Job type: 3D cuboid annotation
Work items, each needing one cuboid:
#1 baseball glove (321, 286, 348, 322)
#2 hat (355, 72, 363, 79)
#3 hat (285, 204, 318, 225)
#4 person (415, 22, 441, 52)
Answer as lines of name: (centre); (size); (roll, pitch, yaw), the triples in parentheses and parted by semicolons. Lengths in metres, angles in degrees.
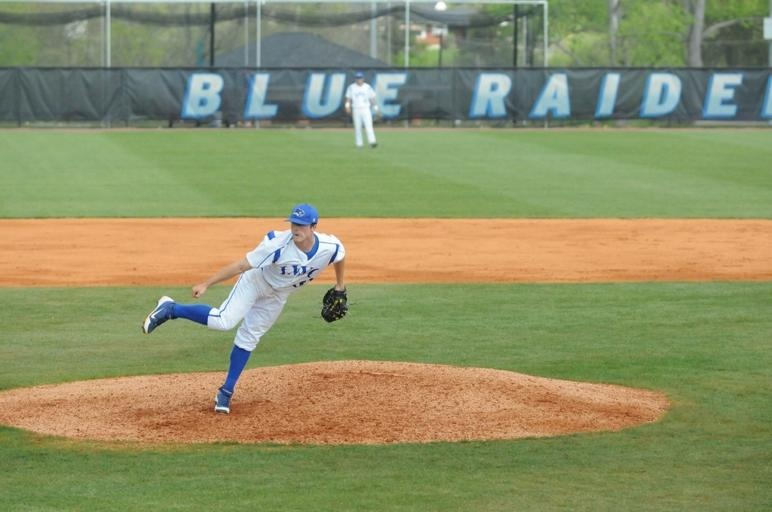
baseball glove: (-1.128, 1.102, 38.457); (0.670, 0.678, 0.454); (2, 0, -6)
hat: (-0.817, -5.576, 53.873); (0.312, 0.138, 0.408); (1, 10, 0)
hat: (-1.846, -0.911, 37.431); (0.462, 0.308, 0.582); (6, 16, -40)
person: (1.649, -8.314, 66.119); (0.955, 0.807, 0.249); (9, 30, 23)
